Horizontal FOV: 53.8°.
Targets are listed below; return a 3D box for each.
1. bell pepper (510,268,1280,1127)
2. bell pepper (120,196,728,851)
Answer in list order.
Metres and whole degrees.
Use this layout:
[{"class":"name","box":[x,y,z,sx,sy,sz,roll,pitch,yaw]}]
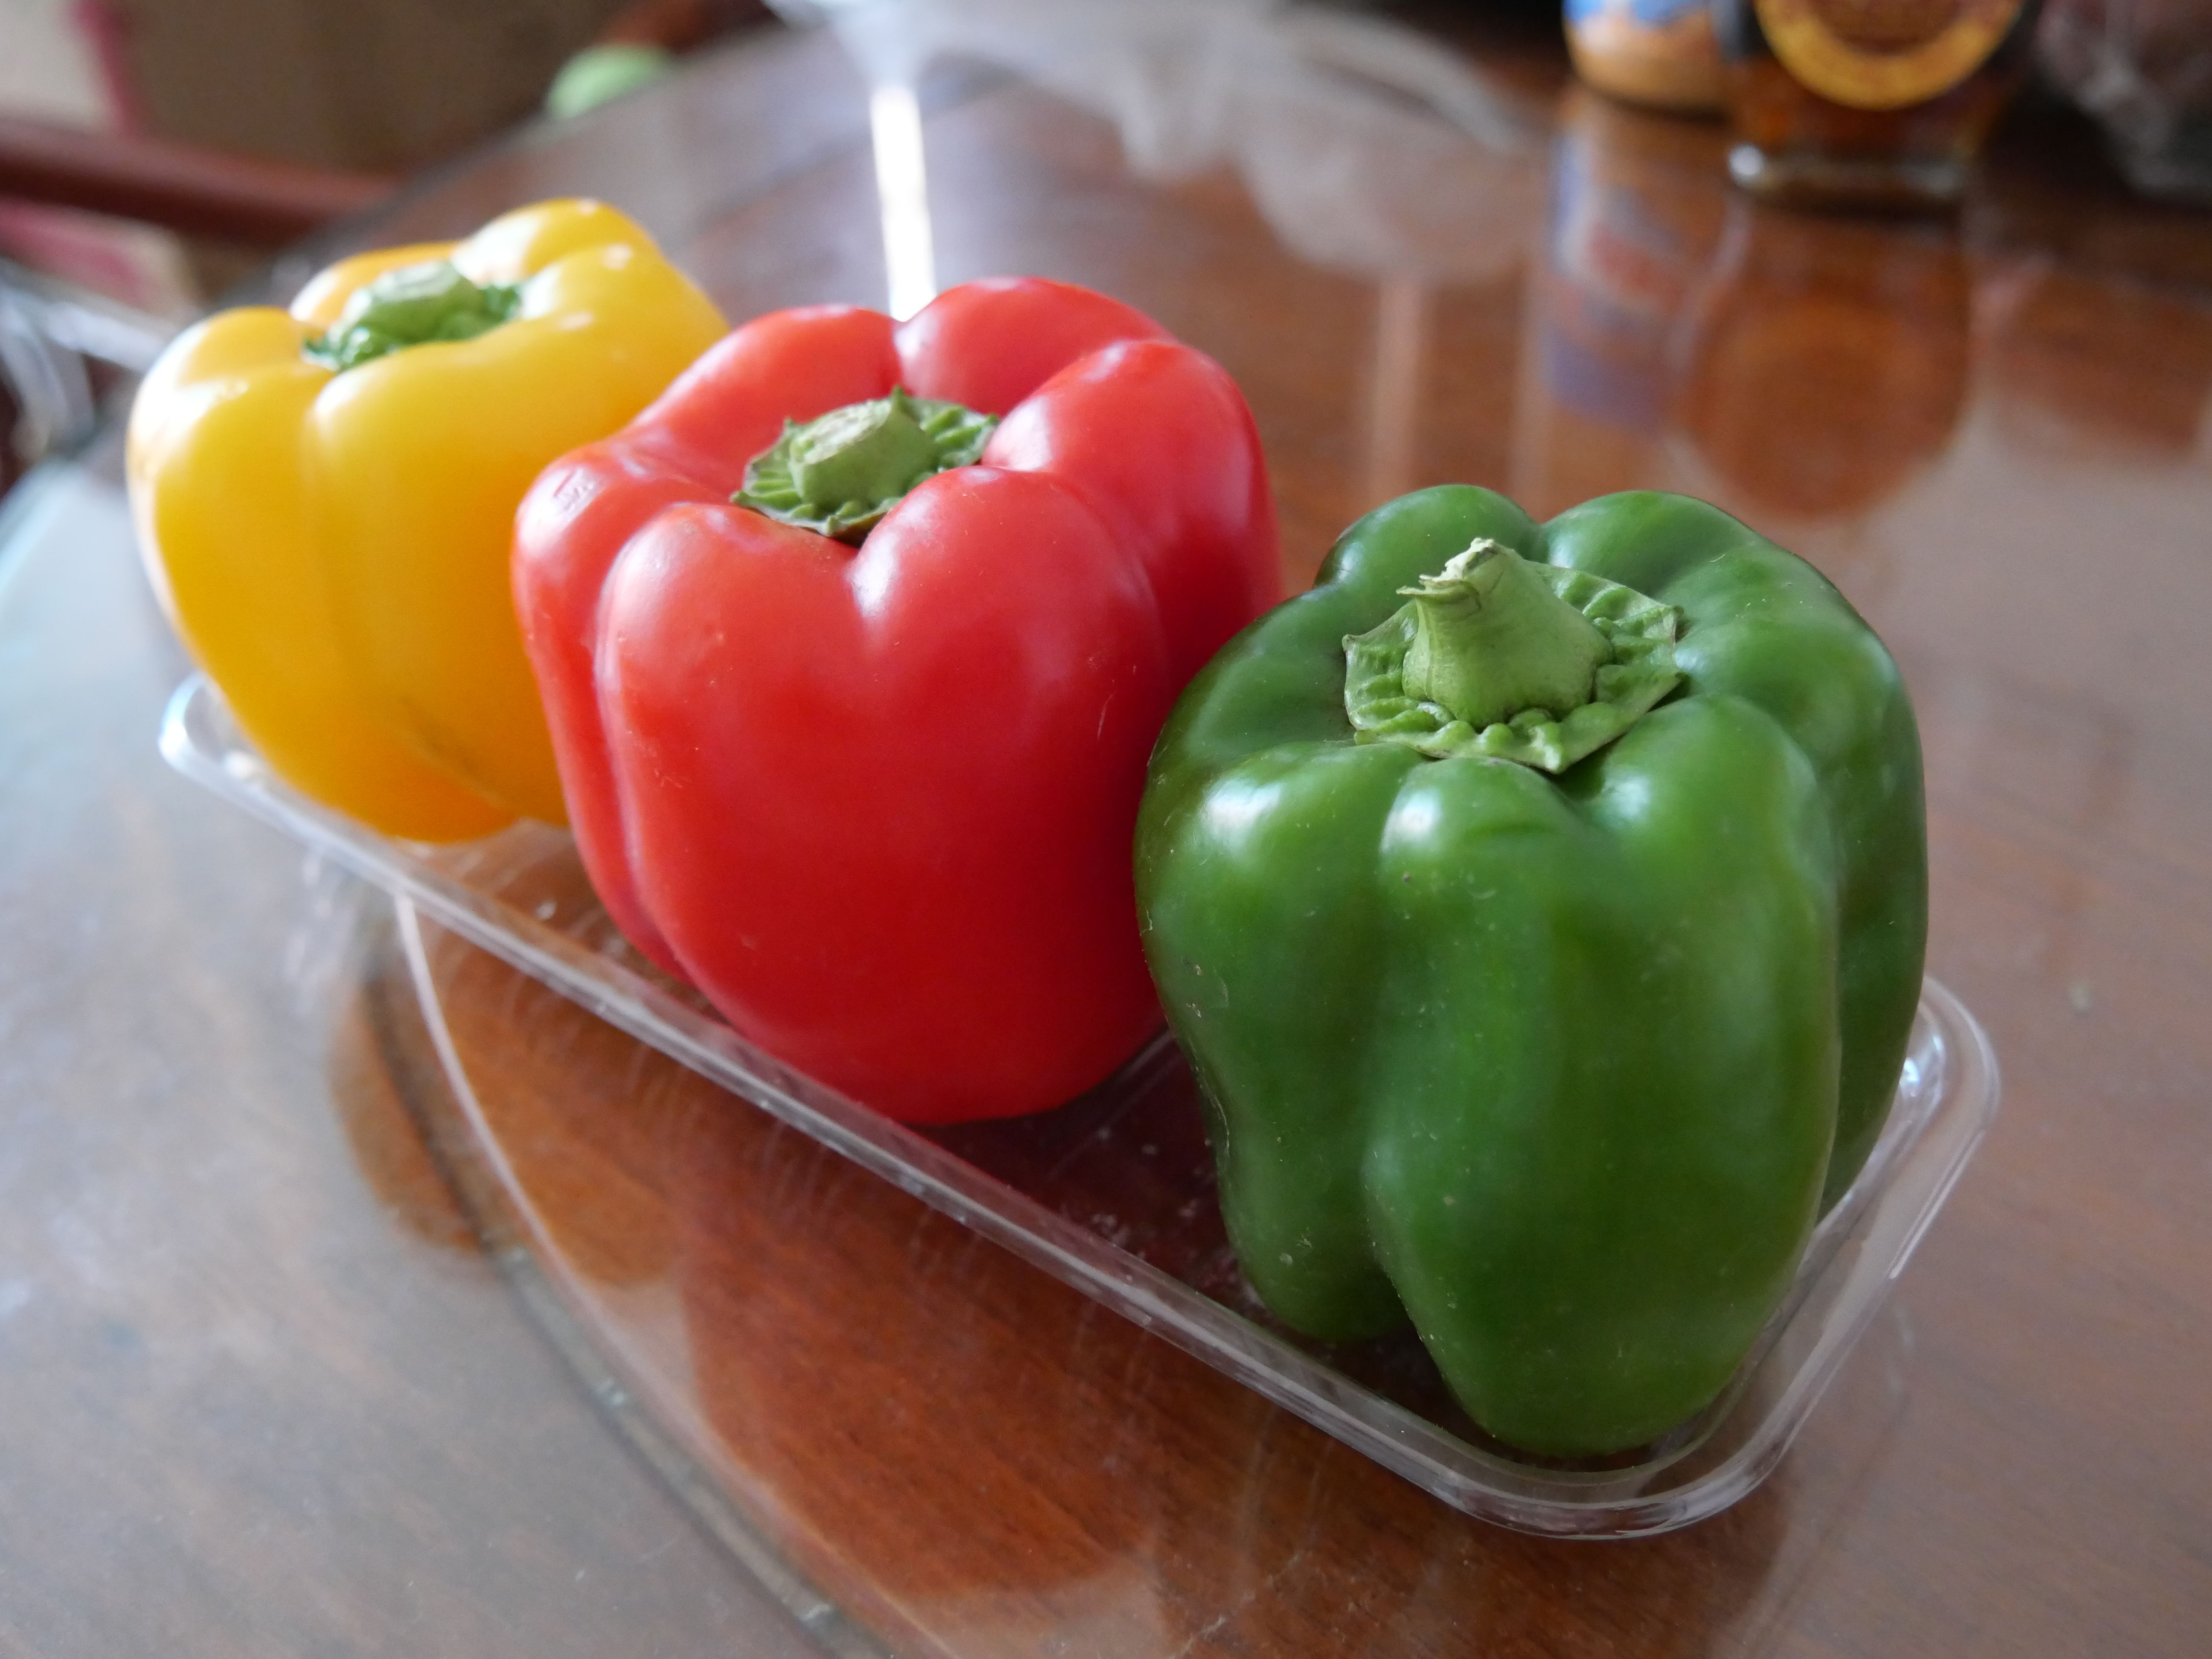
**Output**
[{"class":"bell pepper","box":[-0.112,-0.088,1.477,0.429,0.459,0.487,19,42,30]},{"class":"bell pepper","box":[-0.470,-0.184,1.621,0.395,0.385,0.373,-38,35,-23]}]
